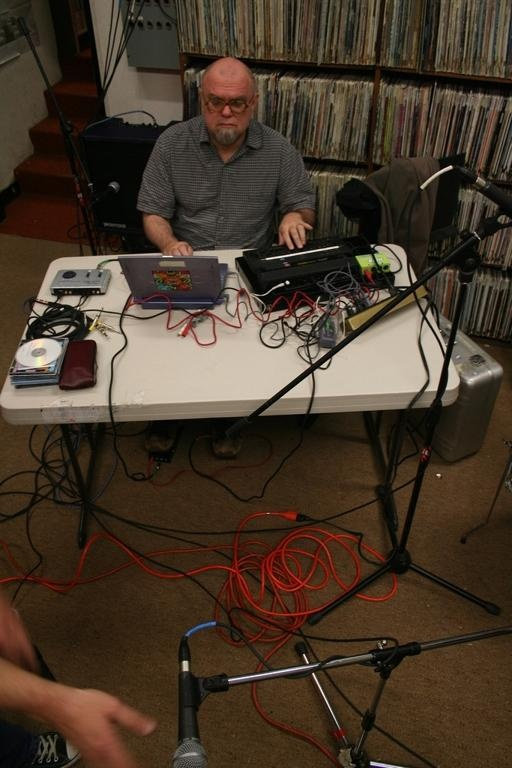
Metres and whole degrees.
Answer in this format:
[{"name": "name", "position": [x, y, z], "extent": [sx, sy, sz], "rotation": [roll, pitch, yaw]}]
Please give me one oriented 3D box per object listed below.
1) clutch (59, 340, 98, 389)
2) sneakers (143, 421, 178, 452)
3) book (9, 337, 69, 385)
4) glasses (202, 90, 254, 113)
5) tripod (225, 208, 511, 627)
[{"name": "clutch", "position": [-0.435, -0.035, 1.494], "extent": [0.089, 0.038, 0.171], "rotation": [0, 47, -6]}, {"name": "sneakers", "position": [-0.358, 0.184, 2.259], "extent": [0.093, 0.047, 0.122], "rotation": [4, 40, 4]}, {"name": "book", "position": [-0.536, -0.055, 1.478], "extent": [0.109, 0.034, 0.119], "rotation": [-3, 55, -1]}, {"name": "glasses", "position": [-0.100, -0.960, 2.029], "extent": [0.147, 0.062, 0.046], "rotation": [-3, 41, -3]}, {"name": "tripod", "position": [0.256, 0.084, 1.488], "extent": [0.449, 1.283, 0.599], "rotation": [16, 43, 19]}]
